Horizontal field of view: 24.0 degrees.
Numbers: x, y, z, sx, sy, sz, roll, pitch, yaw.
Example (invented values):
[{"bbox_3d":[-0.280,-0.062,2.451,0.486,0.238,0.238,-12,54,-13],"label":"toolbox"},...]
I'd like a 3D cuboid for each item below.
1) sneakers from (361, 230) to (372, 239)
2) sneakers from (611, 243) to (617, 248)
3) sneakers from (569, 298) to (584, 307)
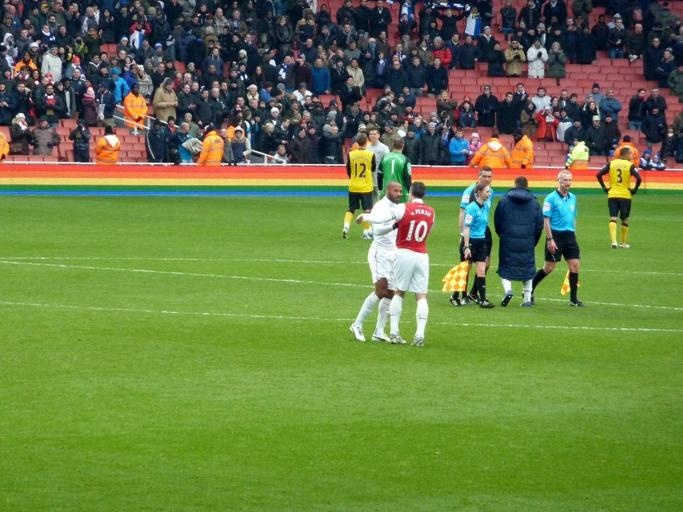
[{"bbox_3d":[0.576,-0.486,38.525,0.275,0.179,0.140,-1,13,-3],"label":"sneakers"},{"bbox_3d":[6.600,-0.223,38.847,0.062,0.074,0.183,-6,-8,20],"label":"sneakers"},{"bbox_3d":[4.724,0.978,32.350,0.307,0.125,0.110,0,8,6],"label":"sneakers"}]
